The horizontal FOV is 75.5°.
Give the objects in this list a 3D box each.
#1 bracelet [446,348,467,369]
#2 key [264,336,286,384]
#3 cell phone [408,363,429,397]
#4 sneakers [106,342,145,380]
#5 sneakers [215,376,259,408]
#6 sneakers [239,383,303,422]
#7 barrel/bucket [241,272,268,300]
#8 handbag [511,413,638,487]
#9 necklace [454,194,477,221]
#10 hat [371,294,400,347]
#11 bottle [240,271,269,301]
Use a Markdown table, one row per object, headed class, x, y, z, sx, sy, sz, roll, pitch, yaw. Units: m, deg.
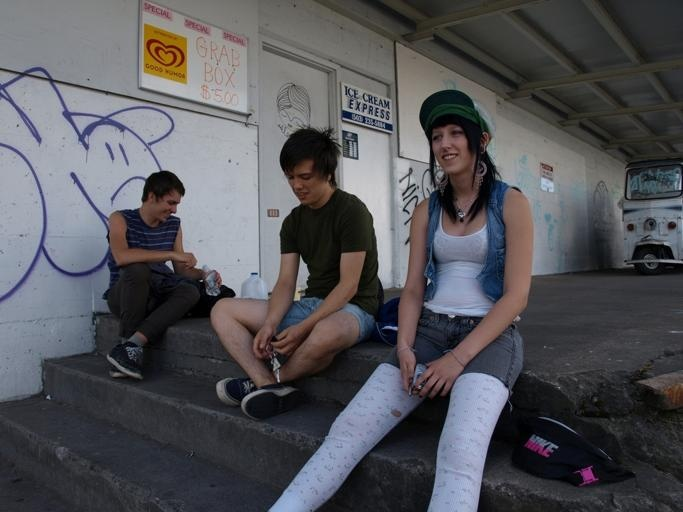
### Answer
| class | x | y | z | sx | sy | sz | roll | pitch | yaw |
| --- | --- | --- | --- | --- | --- | --- | --- | --- | --- |
| bracelet | 0.502 | 0.441 | 1.916 | 0.062 | 0.029 | 0.071 | 6 | 35 | -53 |
| key | -0.366 | 0.594 | 2.502 | 0.080 | 0.282 | 0.107 | -2 | 19 | 3 |
| cell phone | 0.345 | 0.549 | 1.951 | 0.070 | 0.035 | 0.149 | -3 | 40 | 32 |
| sneakers | -1.491 | 0.730 | 3.066 | 0.296 | 0.248 | 0.190 | 5 | 7 | 25 |
| sneakers | -0.591 | 0.772 | 2.547 | 0.120 | 0.116 | 0.290 | -3 | -4 | 22 |
| sneakers | -0.377 | 0.778 | 2.425 | 0.361 | 0.141 | 0.143 | 2 | 16 | -41 |
| barrel/bucket | -0.878 | 0.308 | 4.392 | 0.225 | 0.443 | 0.234 | 0 | -9 | 0 |
| handbag | 0.898 | 0.756 | 1.691 | 0.332 | 0.104 | 0.220 | 9 | 51 | 12 |
| necklace | 0.627 | -0.243 | 2.239 | 0.092 | 0.132 | 0.041 | -7 | -18 | 28 |
| hat | 0.292 | 0.395 | 2.650 | 0.218 | 0.232 | 0.093 | 11 | 4 | 35 |
| bottle | -0.878 | 0.302 | 4.410 | 0.229 | 0.450 | 0.235 | 0 | -10 | 0 |
